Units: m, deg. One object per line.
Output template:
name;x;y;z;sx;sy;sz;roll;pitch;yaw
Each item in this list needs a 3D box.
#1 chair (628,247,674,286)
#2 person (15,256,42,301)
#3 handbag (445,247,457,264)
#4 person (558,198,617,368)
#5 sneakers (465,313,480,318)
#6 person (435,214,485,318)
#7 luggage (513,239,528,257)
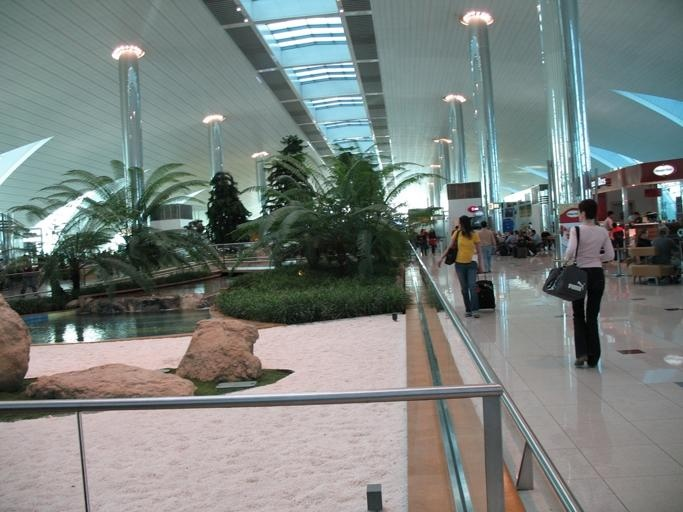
chair;6.701;0.213;10.462;1.181;0.863;1.065;-2;1;-40
person;-8.487;0.527;12.768;0.528;0.999;0.173;-9;-1;-24
handbag;1.776;-0.014;7.652;0.122;0.267;0.234;38;-25;-5
person;2.580;0.237;4.929;0.555;1.798;0.858;-11;-1;26
sneakers;2.146;0.982;7.801;0.248;0.074;0.081;-3;1;24
person;2.016;0.176;7.760;0.626;1.711;0.547;-10;-1;12
luggage;8.321;-0.348;21.979;0.629;0.844;0.642;-9;-1;16
